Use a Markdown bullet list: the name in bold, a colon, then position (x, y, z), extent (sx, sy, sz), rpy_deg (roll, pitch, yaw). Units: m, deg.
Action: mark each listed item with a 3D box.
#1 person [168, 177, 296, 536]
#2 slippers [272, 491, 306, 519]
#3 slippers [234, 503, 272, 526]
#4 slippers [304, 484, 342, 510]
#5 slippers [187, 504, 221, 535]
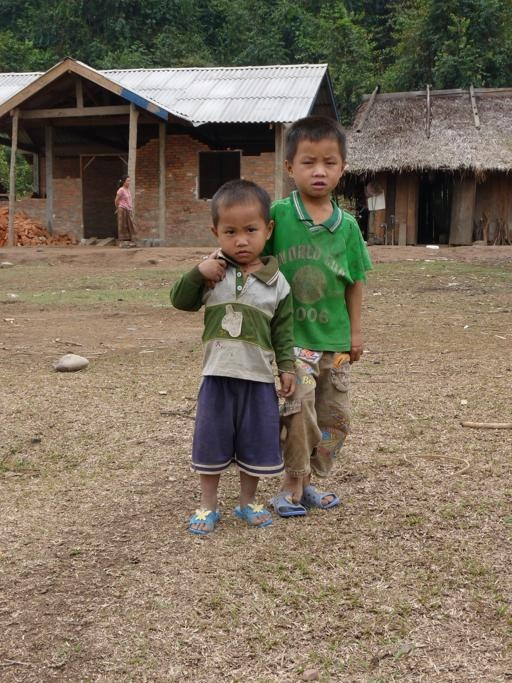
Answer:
- **person**: position (-0.062, 0.047, 2.513), extent (0.383, 1.088, 0.294), rpy_deg (-3, 13, -8)
- **slippers**: position (0.110, 0.543, 2.652), extent (0.055, 0.046, 0.140), rpy_deg (-1, 3, -20)
- **slippers**: position (-0.004, 0.565, 2.611), extent (0.053, 0.037, 0.113), rpy_deg (-6, 4, -35)
- **slippers**: position (0.237, 0.543, 2.747), extent (0.136, 0.050, 0.060), rpy_deg (-4, 2, 43)
- **slippers**: position (-0.164, 0.567, 2.530), extent (0.078, 0.063, 0.192), rpy_deg (0, -5, 7)
